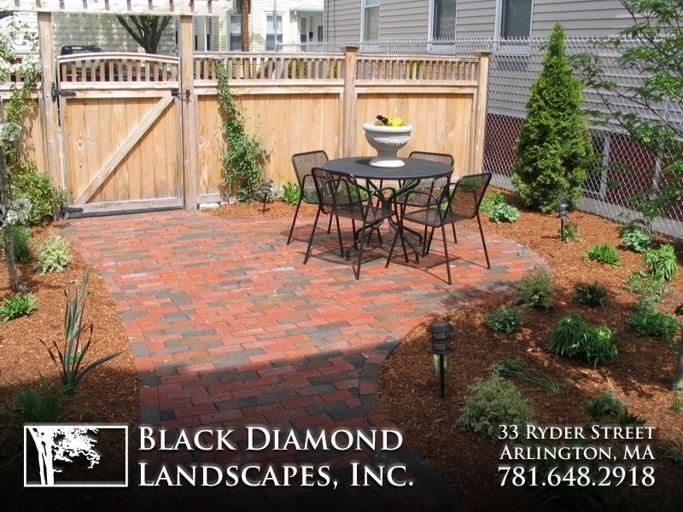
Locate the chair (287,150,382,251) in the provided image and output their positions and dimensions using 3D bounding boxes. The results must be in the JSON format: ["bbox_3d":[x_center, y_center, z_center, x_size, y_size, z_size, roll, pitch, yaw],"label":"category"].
[{"bbox_3d":[-0.364,-0.937,7.151,0.919,1.193,0.867,-16,39,-33],"label":"chair"}]

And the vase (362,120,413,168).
[{"bbox_3d":[0.659,-1.520,6.514,0.758,0.508,0.680,1,10,11],"label":"vase"}]
